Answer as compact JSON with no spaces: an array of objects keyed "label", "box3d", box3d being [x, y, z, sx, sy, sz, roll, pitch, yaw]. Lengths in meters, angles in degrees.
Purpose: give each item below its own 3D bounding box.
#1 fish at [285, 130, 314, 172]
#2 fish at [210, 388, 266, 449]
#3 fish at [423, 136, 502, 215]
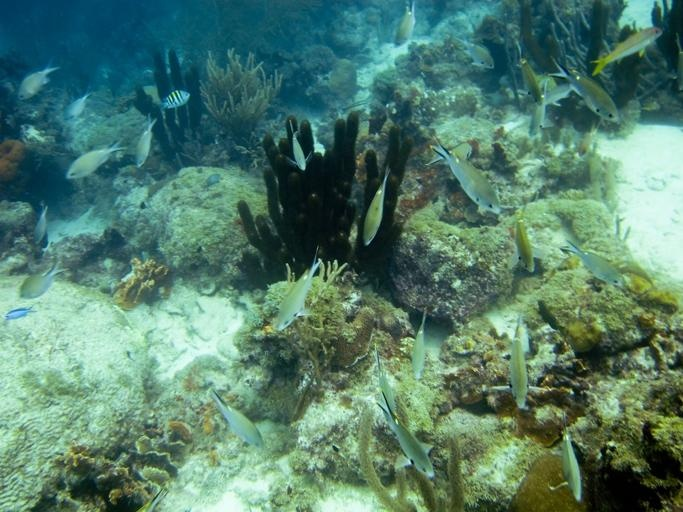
[{"label":"fish","box3d":[-0.826,-2.012,11.929,0.440,0.730,0.275,-11,2,18]},{"label":"fish","box3d":[-1.778,2.907,10.891,0.861,1.152,0.231,16,37,34]},{"label":"fish","box3d":[2.536,-1.610,13.048,0.788,0.385,2.034,-42,74,5]}]
